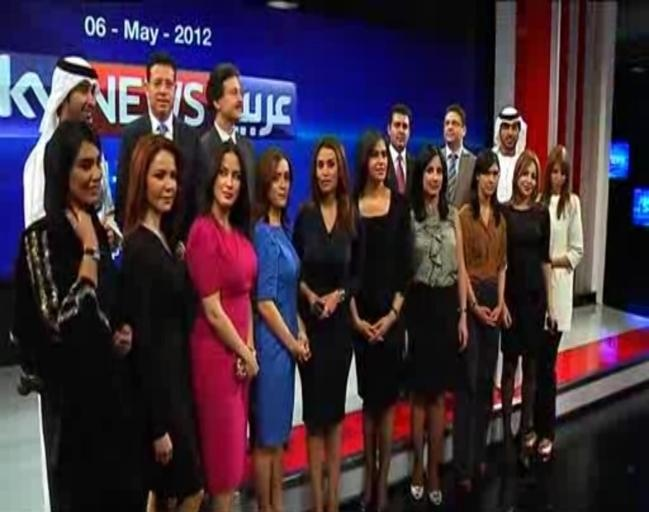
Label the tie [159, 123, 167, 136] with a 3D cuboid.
[{"bbox_3d":[-0.589,-0.463,2.170,0.025,0.039,0.010,-2,2,-27],"label":"tie"}]

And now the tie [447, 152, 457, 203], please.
[{"bbox_3d":[0.618,-0.370,2.820,0.033,0.232,0.086,3,10,35],"label":"tie"}]

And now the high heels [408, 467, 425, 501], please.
[{"bbox_3d":[0.448,1.098,2.848,0.045,0.144,0.030,-3,6,-15],"label":"high heels"}]

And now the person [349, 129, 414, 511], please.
[{"bbox_3d":[0.271,0.321,2.670,0.326,1.727,0.080,-8,10,-33],"label":"person"}]

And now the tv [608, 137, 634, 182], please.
[{"bbox_3d":[1.687,-0.542,3.357,0.181,0.216,0.031,-9,10,-31],"label":"tv"}]
